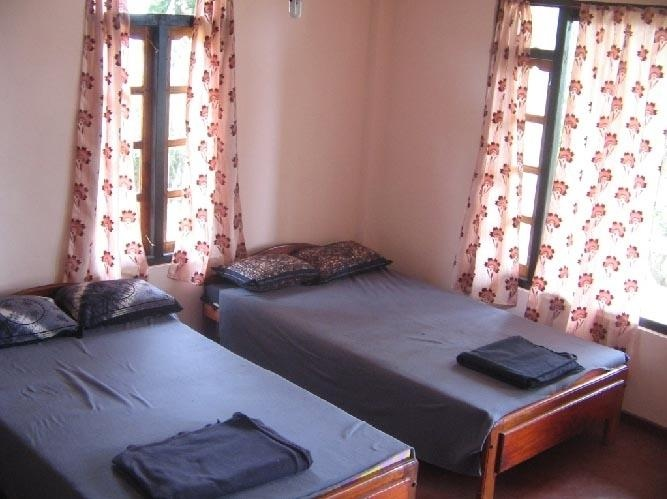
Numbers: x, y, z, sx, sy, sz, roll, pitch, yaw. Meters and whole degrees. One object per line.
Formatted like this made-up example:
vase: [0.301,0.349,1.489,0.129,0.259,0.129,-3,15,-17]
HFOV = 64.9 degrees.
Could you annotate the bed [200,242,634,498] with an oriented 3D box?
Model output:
bed: [0.384,0.663,3.422,1.389,0.646,2.502,-14,24,-36]

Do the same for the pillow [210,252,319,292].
pillow: [-0.710,0.200,4.137,0.465,0.116,0.492,14,11,27]
